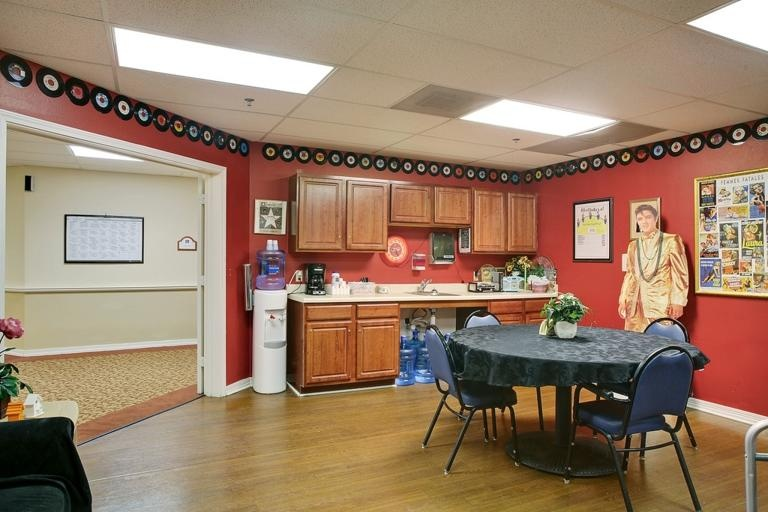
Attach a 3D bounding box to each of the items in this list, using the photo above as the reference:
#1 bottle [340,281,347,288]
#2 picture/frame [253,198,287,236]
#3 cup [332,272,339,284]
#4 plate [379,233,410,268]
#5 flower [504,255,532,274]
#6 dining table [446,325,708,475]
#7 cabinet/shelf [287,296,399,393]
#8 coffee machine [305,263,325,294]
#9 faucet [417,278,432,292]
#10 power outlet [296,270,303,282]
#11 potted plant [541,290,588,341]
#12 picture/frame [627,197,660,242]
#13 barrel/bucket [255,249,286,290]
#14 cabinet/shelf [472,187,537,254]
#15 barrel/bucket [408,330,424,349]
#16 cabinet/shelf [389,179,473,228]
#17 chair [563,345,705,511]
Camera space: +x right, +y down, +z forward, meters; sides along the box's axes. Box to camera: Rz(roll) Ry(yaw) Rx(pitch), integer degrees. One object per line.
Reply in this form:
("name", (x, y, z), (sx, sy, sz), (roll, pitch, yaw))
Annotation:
("bottle", (-0.491, 0.354, 6.640), (0.094, 0.083, 0.066), (5, -9, -38))
("picture/frame", (-1.422, -0.473, 6.682), (0.508, 0.498, 0.043), (1, -4, -26))
("cup", (-0.586, 0.284, 6.742), (0.126, 0.196, 0.119), (0, -3, 0))
("plate", (0.137, -0.066, 7.282), (0.412, 0.389, 0.095), (-28, 9, -25))
("flower", (1.901, 0.121, 7.680), (0.306, 0.194, 0.288), (0, 1, -22))
("dining table", (1.383, 1.121, 4.673), (1.637, 0.815, 1.547), (-1, 5, -20))
("cabinet/shelf", (-0.418, 0.925, 6.857), (1.758, 1.310, 0.954), (1, -6, -18))
("coffee machine", (-0.829, 0.283, 6.603), (0.231, 0.350, 0.270), (-2, 13, -7))
("faucet", (0.521, 0.396, 7.241), (0.133, 0.079, 0.195), (9, 7, -19))
("power outlet", (-1.040, 0.252, 6.778), (0.095, 0.122, 0.030), (4, -4, -19))
("potted plant", (1.647, 0.558, 5.088), (0.439, 0.394, 0.433), (2, -4, 2))
("picture/frame", (3.060, -0.423, 6.383), (0.052, 0.639, 0.531), (5, -6, -22))
("barrel/bucket", (-1.356, 0.168, 6.477), (0.322, 0.457, 0.198), (-3, 13, -14))
("cabinet/shelf", (1.818, -0.489, 7.625), (0.369, 0.813, 0.998), (-11, 12, -43))
("barrel/bucket", (0.438, 1.093, 7.103), (0.218, 0.223, 0.218), (0, 0, 0))
("cabinet/shelf", (0.576, -0.655, 7.294), (1.228, 0.539, 0.343), (0, -2, -25))
("chair", (2.056, 1.351, 4.395), (1.024, 1.287, 0.698), (4, 13, 19))
